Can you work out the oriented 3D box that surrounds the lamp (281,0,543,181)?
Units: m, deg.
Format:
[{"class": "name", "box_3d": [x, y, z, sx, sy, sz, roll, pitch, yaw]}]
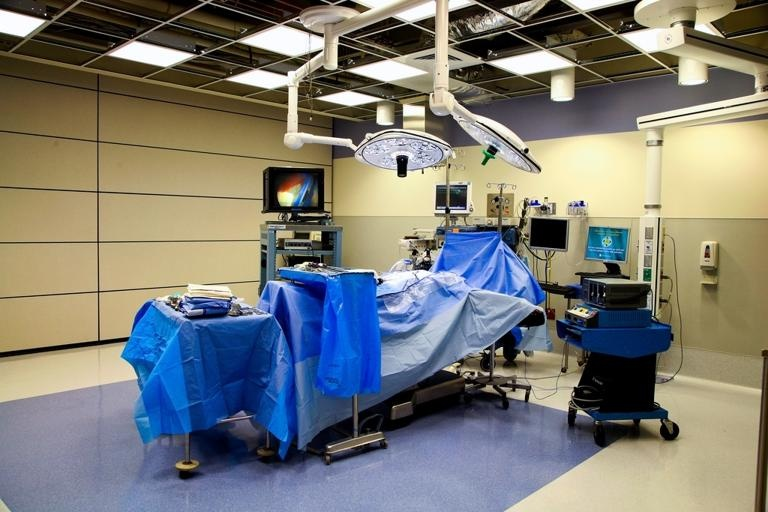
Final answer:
[{"class": "lamp", "box_3d": [0.314, -1.304, 4.943, 1.861, 1.047, 1.815, 8, -9, -44]}]

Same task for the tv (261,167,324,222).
[{"class": "tv", "box_3d": [-1.113, -0.802, 7.275, 0.783, 0.709, 0.470, 3, 2, 8]}]

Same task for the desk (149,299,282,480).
[{"class": "desk", "box_3d": [-1.365, 1.108, 5.239, 1.164, 1.568, 1.449, 0, 4, -32]}]

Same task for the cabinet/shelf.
[{"class": "cabinet/shelf", "box_3d": [-1.155, 0.085, 7.294, 0.952, 0.946, 0.729, 0, 6, -23]}]

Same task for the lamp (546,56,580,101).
[{"class": "lamp", "box_3d": [2.308, -2.139, 6.721, 0.332, 0.525, 0.335, -3, 4, -25]}]

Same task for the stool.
[{"class": "stool", "box_3d": [1.199, 1.041, 5.990, 0.855, 0.874, 0.855, -2, 8, 17]}]

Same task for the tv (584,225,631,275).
[{"class": "tv", "box_3d": [2.834, -0.081, 6.840, 0.252, 0.676, 0.616, 2, 0, -33]}]

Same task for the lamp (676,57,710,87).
[{"class": "lamp", "box_3d": [3.483, -2.076, 6.107, 0.308, 0.255, 0.185, 1, 14, 2]}]

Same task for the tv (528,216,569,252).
[{"class": "tv", "box_3d": [2.142, -0.292, 7.065, 0.464, 0.393, 0.049, 2, 0, 41]}]

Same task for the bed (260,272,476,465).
[{"class": "bed", "box_3d": [-0.234, 0.893, 5.445, 2.179, 1.262, 1.186, -2, -4, -38]}]
